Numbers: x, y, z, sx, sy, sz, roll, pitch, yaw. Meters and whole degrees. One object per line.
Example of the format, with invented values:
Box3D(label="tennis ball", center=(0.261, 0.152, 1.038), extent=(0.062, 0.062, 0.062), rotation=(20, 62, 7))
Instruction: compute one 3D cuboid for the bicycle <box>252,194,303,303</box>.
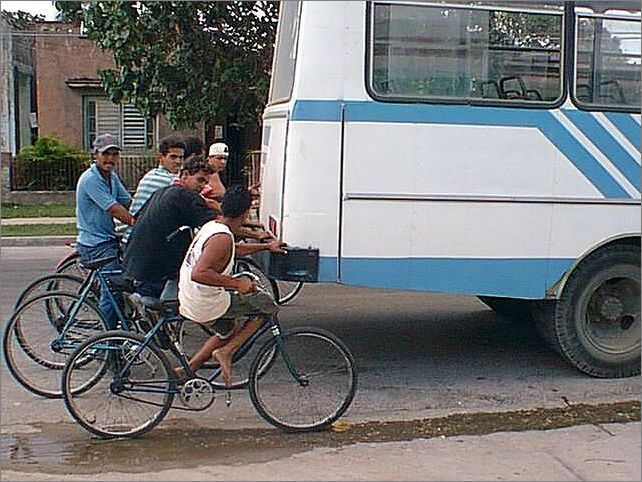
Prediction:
Box3D(label="bicycle", center=(-0.591, 0.033, 11.746), extent=(0.921, 1.410, 0.657), rotation=(-1, -7, -17))

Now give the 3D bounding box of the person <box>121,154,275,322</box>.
Box3D(label="person", center=(-1.346, 0.054, 9.157), extent=(1.229, 1.604, 0.780), rotation=(3, 13, 4))

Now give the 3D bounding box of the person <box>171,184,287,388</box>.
Box3D(label="person", center=(-0.911, 0.422, 8.697), extent=(0.908, 1.831, 0.717), rotation=(-3, 10, -17))

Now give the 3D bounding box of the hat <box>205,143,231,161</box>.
Box3D(label="hat", center=(-1.273, -1.067, 11.333), extent=(0.264, 0.187, 0.373), rotation=(-2, 4, -44))

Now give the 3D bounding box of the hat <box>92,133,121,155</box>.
Box3D(label="hat", center=(-2.198, -0.971, 9.648), extent=(0.181, 0.148, 0.263), rotation=(4, -6, -33))
